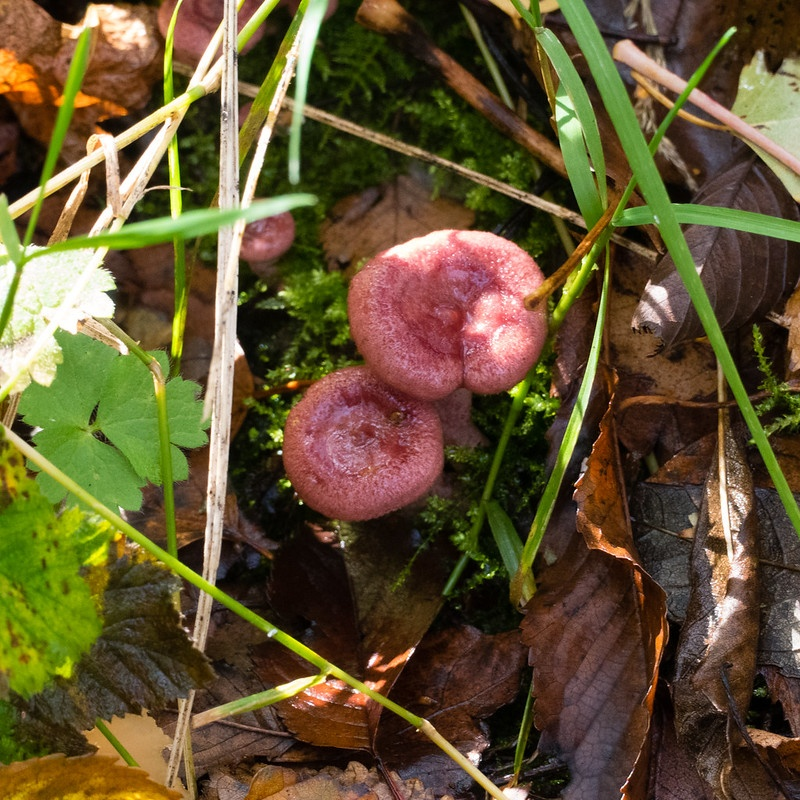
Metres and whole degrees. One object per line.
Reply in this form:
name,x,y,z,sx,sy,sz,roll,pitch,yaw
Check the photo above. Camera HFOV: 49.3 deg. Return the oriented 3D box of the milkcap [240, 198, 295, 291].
milkcap,-0.425,-0.450,2.652,0.210,0.176,0.187,-6,34,-11
